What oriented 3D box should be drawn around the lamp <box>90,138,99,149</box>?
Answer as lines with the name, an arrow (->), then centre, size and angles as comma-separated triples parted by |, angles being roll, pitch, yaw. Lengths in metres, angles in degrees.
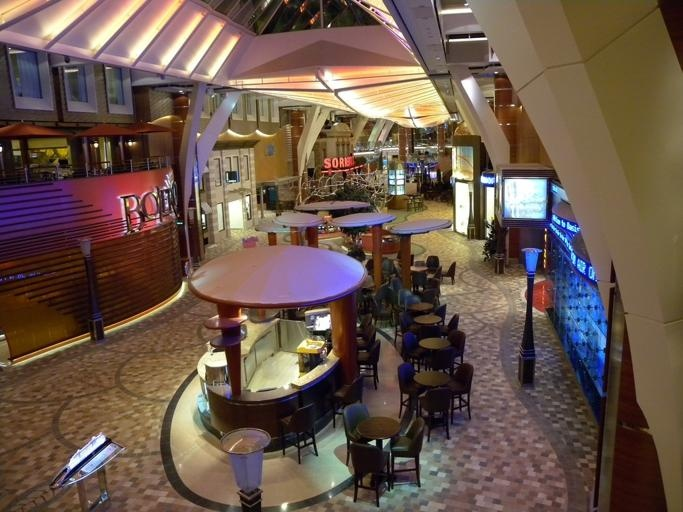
lamp -> -10.175, -4.650, 20.077 | 0.277, 0.289, 0.196 | -1, -3, -9

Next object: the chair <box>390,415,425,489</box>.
chair -> 1.073, 3.021, 7.925 | 0.550, 0.978, 0.925 | -3, 11, 7
